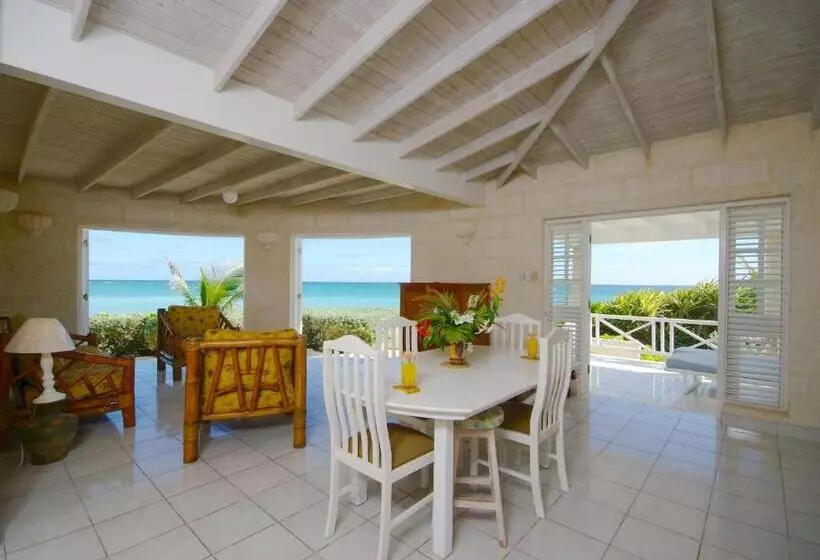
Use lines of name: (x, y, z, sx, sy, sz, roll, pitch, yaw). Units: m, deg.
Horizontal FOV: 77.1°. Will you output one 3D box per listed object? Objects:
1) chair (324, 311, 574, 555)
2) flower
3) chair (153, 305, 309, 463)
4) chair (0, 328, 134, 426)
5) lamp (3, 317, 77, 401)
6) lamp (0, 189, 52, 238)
chair: (0.315, 1.227, 4.201, 1.976, 1.656, 1.039, -1, 0, -27)
flower: (0.347, 0.313, 4.954, 0.937, 0.786, 0.947, 0, 5, -41)
chair: (-2.199, 0.956, 6.031, 1.094, 1.092, 2.816, 1, -3, -27)
chair: (-3.472, 0.889, 5.178, 0.849, 0.744, 1.527, -2, 3, -41)
lamp: (-3.354, 0.725, 4.663, 0.477, 0.778, 0.501, -1, 0, -38)
lamp: (-4.738, -0.863, 6.300, 0.496, 0.603, 0.720, -1, 0, -25)
